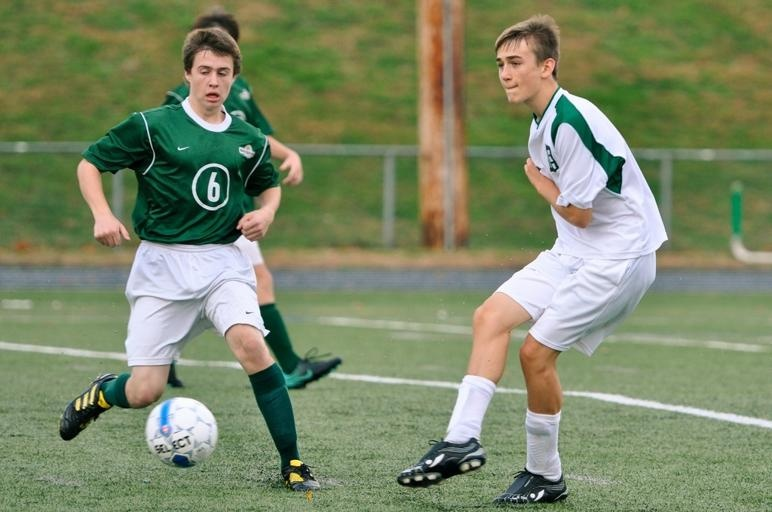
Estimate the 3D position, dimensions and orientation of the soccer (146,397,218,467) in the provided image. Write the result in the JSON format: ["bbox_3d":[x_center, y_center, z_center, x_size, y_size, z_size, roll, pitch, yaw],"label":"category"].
[{"bbox_3d":[-1.539,1.347,8.648,0.555,0.511,0.549,7,40,-9],"label":"soccer"}]

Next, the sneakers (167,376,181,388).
[{"bbox_3d":[-1.936,1.160,10.309,0.107,0.051,0.132,7,-8,-2],"label":"sneakers"}]

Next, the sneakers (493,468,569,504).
[{"bbox_3d":[1.078,1.749,8.490,0.628,0.277,0.213,0,-9,-6],"label":"sneakers"}]
